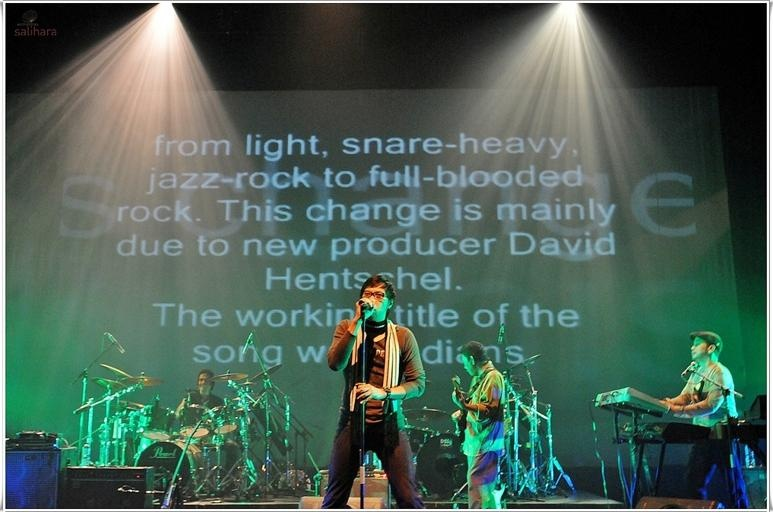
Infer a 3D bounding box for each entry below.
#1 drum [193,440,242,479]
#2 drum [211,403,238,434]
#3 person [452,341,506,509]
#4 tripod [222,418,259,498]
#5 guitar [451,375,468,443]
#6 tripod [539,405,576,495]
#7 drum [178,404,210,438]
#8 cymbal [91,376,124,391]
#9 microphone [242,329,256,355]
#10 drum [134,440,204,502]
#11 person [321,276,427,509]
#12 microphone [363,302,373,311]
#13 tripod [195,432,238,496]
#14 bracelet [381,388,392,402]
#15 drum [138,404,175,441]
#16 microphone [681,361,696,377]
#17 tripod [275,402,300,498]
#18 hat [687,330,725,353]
[{"bbox_3d":[-1.953,2.396,9.139,0.474,0.443,0.437,-1,-10,12],"label":"drum"},{"bbox_3d":[-1.937,1.948,9.206,0.314,0.287,0.308,-1,-36,-29],"label":"drum"},{"bbox_3d":[1.009,1.818,8.361,0.533,1.757,1.005,-2,-15,5],"label":"person"},{"bbox_3d":[-1.707,2.376,9.109,0.389,0.939,0.129,-5,-16,16],"label":"tripod"},{"bbox_3d":[0.844,1.777,8.896,0.151,0.627,0.442,-12,13,-10],"label":"guitar"},{"bbox_3d":[2.013,2.275,9.086,0.387,1.035,0.083,3,-16,-15],"label":"tripod"},{"bbox_3d":[-2.311,1.928,8.980,0.373,0.398,0.371,-3,-11,14],"label":"drum"},{"bbox_3d":[-3.308,1.537,9.179,0.390,0.165,0.085,-4,-15,12],"label":"cymbal"},{"bbox_3d":[-1.660,1.055,9.348,0.149,0.290,0.035,-4,-15,10],"label":"microphone"},{"bbox_3d":[-2.512,2.484,9.142,0.689,0.668,0.627,2,-5,1],"label":"drum"},{"bbox_3d":[-0.098,1.198,6.813,0.901,2.010,0.572,1,-15,-5],"label":"person"},{"bbox_3d":[-0.155,0.437,6.700,0.108,0.070,0.030,9,-18,-34],"label":"microphone"},{"bbox_3d":[-1.956,2.559,9.476,0.636,0.906,0.677,6,-17,-9],"label":"tripod"},{"bbox_3d":[0.001,1.211,6.746,0.084,0.114,0.039,2,-8,-15],"label":"bracelet"},{"bbox_3d":[-2.692,1.977,9.161,0.396,0.375,0.362,-6,-18,32],"label":"drum"},{"bbox_3d":[3.589,1.362,9.178,0.198,0.071,0.138,-34,1,-23],"label":"microphone"},{"bbox_3d":[-1.138,2.242,9.151,0.197,1.122,0.119,5,-16,-21],"label":"tripod"},{"bbox_3d":[3.792,0.988,9.196,0.328,0.166,0.231,28,-1,22],"label":"hat"}]
